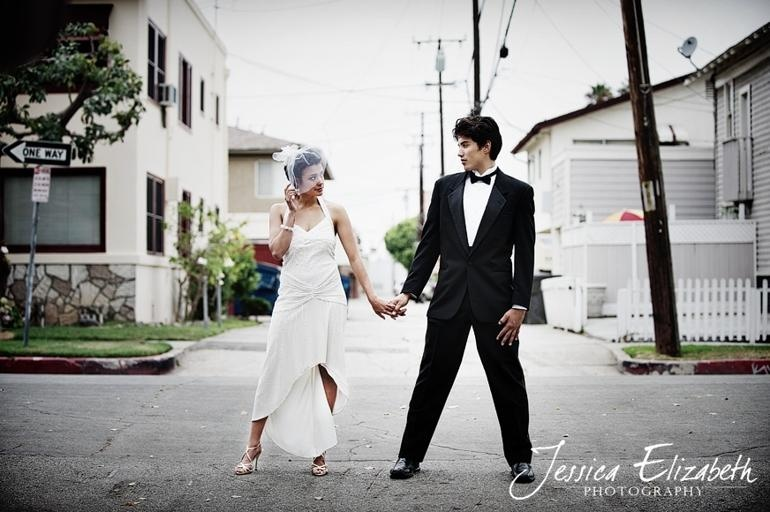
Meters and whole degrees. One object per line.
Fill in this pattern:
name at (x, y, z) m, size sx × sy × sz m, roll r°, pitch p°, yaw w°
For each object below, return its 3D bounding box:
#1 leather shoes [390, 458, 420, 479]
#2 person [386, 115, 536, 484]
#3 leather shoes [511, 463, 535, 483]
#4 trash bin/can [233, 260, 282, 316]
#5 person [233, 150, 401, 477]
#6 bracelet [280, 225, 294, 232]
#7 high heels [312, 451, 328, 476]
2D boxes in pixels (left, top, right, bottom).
leather shoes at (0.173, 2.153, 7.930) m, size 0.143 × 0.144 × 0.330 m, roll -5°, pitch -15°, yaw 17°
person at (0.820, 0.408, 7.910) m, size 1.291 × 3.682 × 0.409 m, roll 0°, pitch -2°, yaw 10°
leather shoes at (1.364, 2.162, 7.879) m, size 0.229 × 0.190 × 0.160 m, roll 0°, pitch -2°, yaw 9°
trash bin/can at (-4.423, 1.131, 29.233) m, size 1.128 × 2.032 × 2.111 m, roll -1°, pitch 10°, yaw -3°
person at (-0.824, 0.546, 8.219) m, size 1.258 × 3.401 × 0.351 m, roll 0°, pitch -2°, yaw -2°
bracelet at (-1.042, -0.280, 8.178) m, size 0.156 × 0.072 × 0.083 m, roll -1°, pitch -2°, yaw 33°
high heels at (-0.681, 2.142, 8.195) m, size 0.172 × 0.212 × 0.407 m, roll 0°, pitch -2°, yaw -5°
